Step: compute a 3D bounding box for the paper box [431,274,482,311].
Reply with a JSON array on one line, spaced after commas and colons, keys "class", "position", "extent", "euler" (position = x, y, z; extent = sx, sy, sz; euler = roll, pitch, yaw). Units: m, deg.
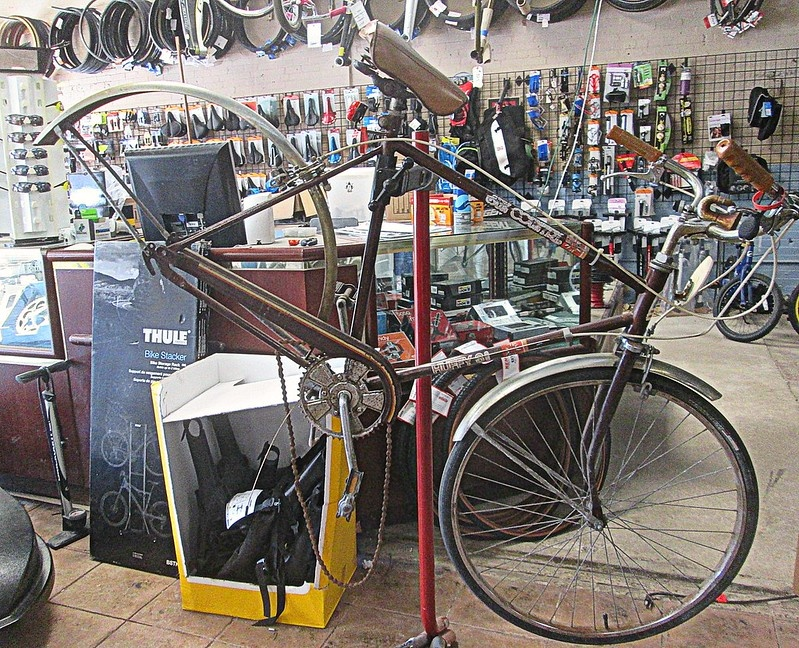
[{"class": "paper box", "position": [0.280, -0.134, 3.305], "extent": [0.211, 0.111, 0.152], "euler": [-9, 12, -34]}]

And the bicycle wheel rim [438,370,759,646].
[{"class": "bicycle wheel rim", "position": [0.754, 0.768, 2.790], "extent": [0.977, 1.009, 0.174], "euler": [1, -21, 8]}]

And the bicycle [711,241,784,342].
[{"class": "bicycle", "position": [3.005, -0.290, 5.969], "extent": [0.627, 0.940, 0.494], "euler": [6, -7, 41]}]

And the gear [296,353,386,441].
[{"class": "gear", "position": [-0.187, 0.261, 2.465], "extent": [0.260, 0.298, 0.226], "euler": [6, 17, 22]}]

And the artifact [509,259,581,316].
[{"class": "artifact", "position": [0.706, -0.178, 3.371], "extent": [0.282, 0.187, 0.273], "euler": [-6, 23, -3]}]

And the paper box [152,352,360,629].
[{"class": "paper box", "position": [-0.565, 0.688, 2.672], "extent": [0.602, 0.758, 0.426], "euler": [5, -10, -15]}]
